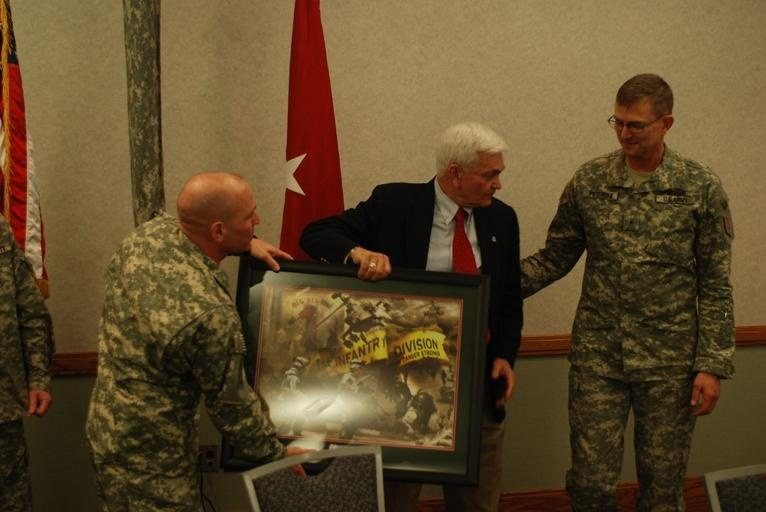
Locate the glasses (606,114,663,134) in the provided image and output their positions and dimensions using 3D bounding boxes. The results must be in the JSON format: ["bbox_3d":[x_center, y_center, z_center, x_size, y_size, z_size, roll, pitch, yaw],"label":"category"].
[{"bbox_3d":[1.191,-0.631,3.602,0.222,0.090,0.056,-1,-4,17],"label":"glasses"}]

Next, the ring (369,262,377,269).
[{"bbox_3d":[-0.049,0.042,3.409,0.027,0.024,0.008,5,-25,-7],"label":"ring"}]

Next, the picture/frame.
[{"bbox_3d":[-0.149,0.516,3.317,1.023,0.793,0.105,3,-13,-5],"label":"picture/frame"}]
